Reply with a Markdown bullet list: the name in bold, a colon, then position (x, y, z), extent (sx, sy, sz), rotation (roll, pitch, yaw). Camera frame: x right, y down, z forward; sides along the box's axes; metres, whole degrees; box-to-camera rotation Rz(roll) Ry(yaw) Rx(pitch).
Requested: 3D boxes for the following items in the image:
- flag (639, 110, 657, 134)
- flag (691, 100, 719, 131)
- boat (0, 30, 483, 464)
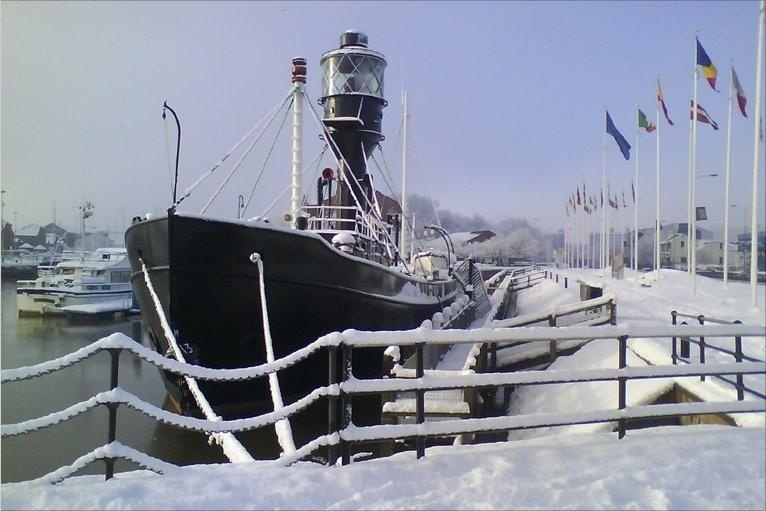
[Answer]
- **flag**: position (11.689, -5.890, 33.414), extent (0.534, 0.807, 2.294), rotation (2, 14, 14)
- **flag**: position (11.611, -4.968, 27.208), extent (0.867, 0.975, 5.261), rotation (4, 15, 21)
- **boat**: position (-2.078, -0.826, 19.549), extent (4.846, 9.805, 10.123), rotation (6, 15, 29)
